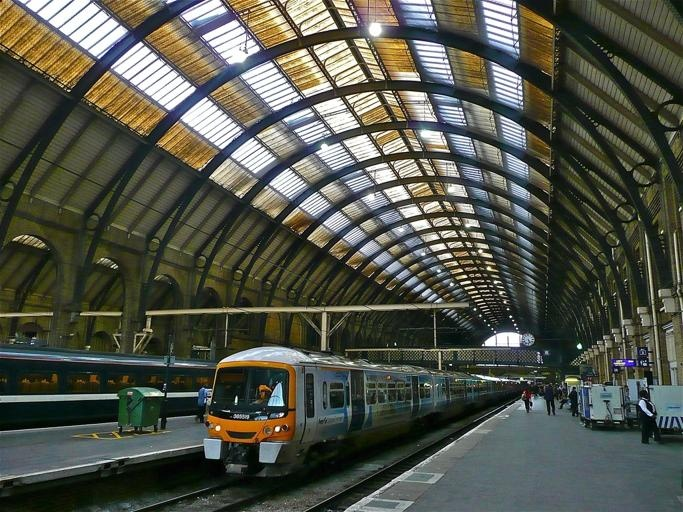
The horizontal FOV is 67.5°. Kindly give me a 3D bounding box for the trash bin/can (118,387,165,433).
[{"bbox_3d":[-7.406,5.638,18.621,1.452,1.509,1.932,-7,-17,9],"label":"trash bin/can"}]

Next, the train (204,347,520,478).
[{"bbox_3d":[5.620,8.612,31.755,3.713,4.172,40.777,-7,-16,27],"label":"train"}]
